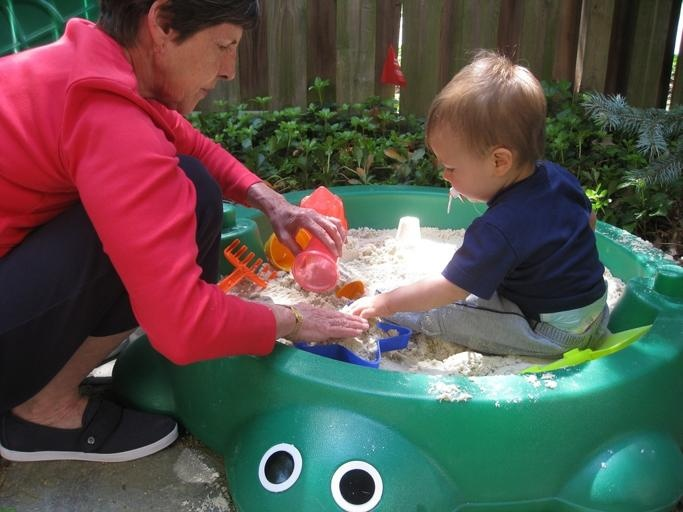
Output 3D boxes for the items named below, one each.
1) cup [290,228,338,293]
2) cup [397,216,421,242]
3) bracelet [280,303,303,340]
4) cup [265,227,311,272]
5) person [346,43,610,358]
[{"bbox_3d":[-0.078,0.045,2.139,0.165,0.171,0.222,13,32,-5],"label":"cup"},{"bbox_3d":[0.290,-0.118,2.678,0.097,0.097,0.098,2,12,0],"label":"cup"},{"bbox_3d":[-0.147,0.184,1.714,0.030,0.086,0.066,-6,26,-29],"label":"bracelet"},{"bbox_3d":[-0.234,-0.013,2.357,0.169,0.155,0.073,39,13,2],"label":"cup"},{"bbox_3d":[0.460,-0.176,2.100,0.826,0.975,0.716,-12,22,-21],"label":"person"}]
